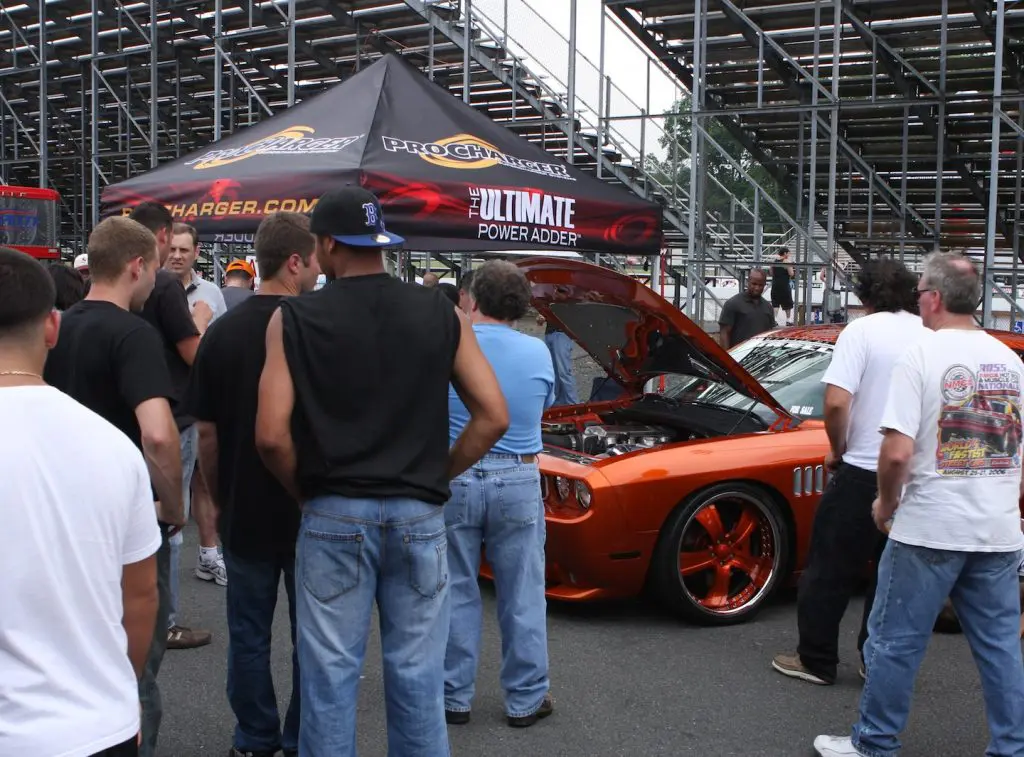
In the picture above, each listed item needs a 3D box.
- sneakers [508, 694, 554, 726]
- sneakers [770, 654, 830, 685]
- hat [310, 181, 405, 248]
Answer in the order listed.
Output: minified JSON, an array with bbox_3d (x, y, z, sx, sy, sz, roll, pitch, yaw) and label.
[{"bbox_3d":[0.099,1.564,5.376,0.083,0.100,0.247,5,9,36],"label":"sneakers"},{"bbox_3d":[1.445,1.476,5.791,0.294,0.116,0.109,22,5,25],"label":"sneakers"},{"bbox_3d":[-0.573,-0.613,4.256,0.375,0.195,0.276,14,18,26],"label":"hat"}]
